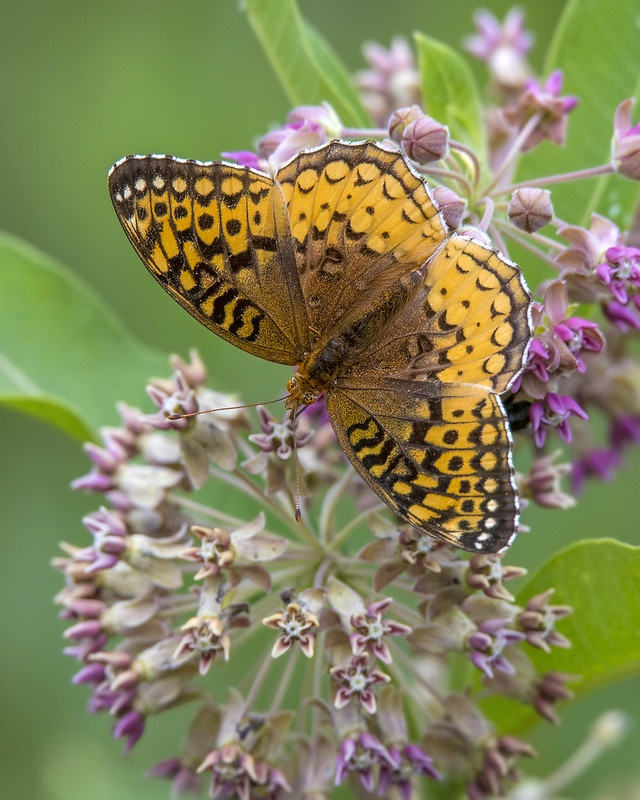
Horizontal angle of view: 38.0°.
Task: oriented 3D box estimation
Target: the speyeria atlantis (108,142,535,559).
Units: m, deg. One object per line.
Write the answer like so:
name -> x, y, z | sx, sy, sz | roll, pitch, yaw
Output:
speyeria atlantis -> 0.087, -0.229, 2.272 | 1.307, 0.338, 0.666 | 43, -68, 2
